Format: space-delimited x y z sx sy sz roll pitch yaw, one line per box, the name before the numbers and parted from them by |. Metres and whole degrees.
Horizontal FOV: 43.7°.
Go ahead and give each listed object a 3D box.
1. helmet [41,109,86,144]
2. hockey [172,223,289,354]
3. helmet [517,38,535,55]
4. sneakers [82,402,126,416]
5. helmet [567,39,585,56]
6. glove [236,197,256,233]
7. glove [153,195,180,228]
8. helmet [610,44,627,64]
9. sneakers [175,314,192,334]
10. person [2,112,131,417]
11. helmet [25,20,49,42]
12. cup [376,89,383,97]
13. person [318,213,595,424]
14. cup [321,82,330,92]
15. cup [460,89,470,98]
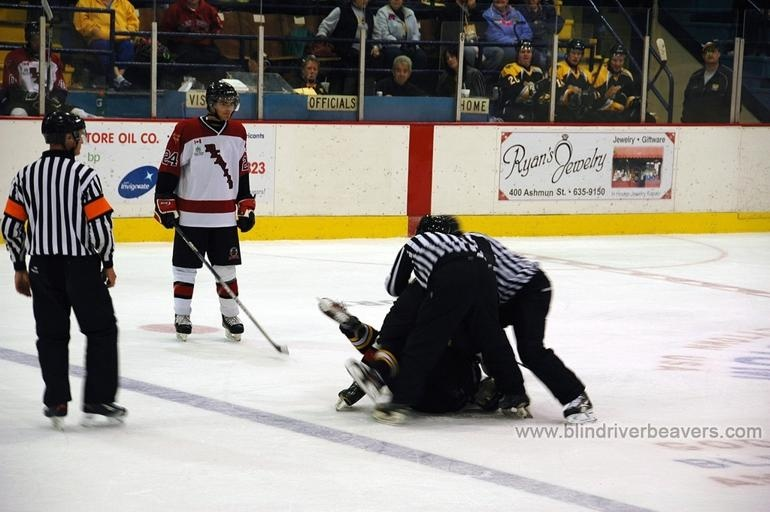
helmet | -2.243 -0.898 6.641 0.241 0.206 0.298 11 19 36
hockey | -1.545 0.363 9.391 0.244 1.540 0.137 -32 -20 -21
helmet | 2.101 -3.163 14.412 0.198 0.141 0.209 -1 8 8
sneakers | -1.899 1.041 6.537 0.307 0.109 0.091 6 23 -14
helmet | 2.892 -3.151 14.572 0.241 0.246 0.271 4 7 1
glove | -1.321 -0.400 9.160 0.134 0.280 0.238 5 -6 -12
glove | -2.005 -0.400 8.772 0.244 0.263 0.124 -14 3 -19
helmet | 3.575 -3.103 14.751 0.219 0.246 0.249 6 42 1
sneakers | -1.844 0.632 8.738 0.156 0.207 0.305 -1 13 -12
person | -2.181 0.089 6.528 0.661 2.066 0.812 -6 16 -29
helmet | -4.557 -2.918 12.459 0.342 0.268 0.243 -4 13 -7
cup | -0.083 -2.397 14.111 0.100 0.079 0.089 -1 -2 -5
person | 0.622 0.441 6.840 1.775 1.366 0.518 4 14 10
cup | -0.874 -2.456 13.984 0.148 0.138 0.147 1 10 0
cup | 1.203 -2.453 14.443 0.127 0.076 0.111 1 5 10
